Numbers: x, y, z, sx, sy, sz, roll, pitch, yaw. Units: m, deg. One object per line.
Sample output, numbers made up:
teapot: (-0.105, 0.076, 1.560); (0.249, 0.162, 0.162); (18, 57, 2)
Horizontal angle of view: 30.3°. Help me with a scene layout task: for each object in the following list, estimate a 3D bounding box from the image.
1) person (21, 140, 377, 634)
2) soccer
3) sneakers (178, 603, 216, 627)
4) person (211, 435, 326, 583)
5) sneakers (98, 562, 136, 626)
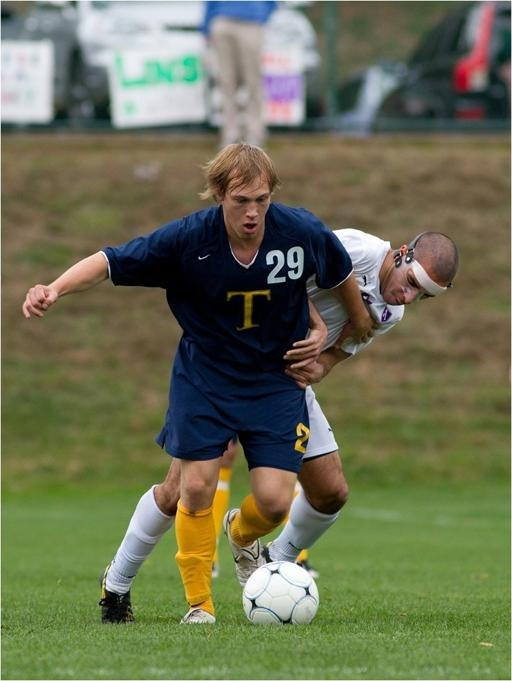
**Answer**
person: (-0.125, 0.206, 4.363); (1.248, 2.172, 0.711); (-9, 16, -40)
soccer: (0.112, 1.140, 4.313); (0.299, 0.257, 0.293); (24, -6, 39)
sneakers: (-0.261, 1.218, 4.176); (0.140, 0.064, 0.099); (0, 9, -3)
person: (0.002, 1.103, 6.241); (0.863, 0.854, 0.421); (1, -18, -2)
sneakers: (-0.655, 1.191, 4.404); (0.112, 0.242, 0.125); (-1, -9, -23)
